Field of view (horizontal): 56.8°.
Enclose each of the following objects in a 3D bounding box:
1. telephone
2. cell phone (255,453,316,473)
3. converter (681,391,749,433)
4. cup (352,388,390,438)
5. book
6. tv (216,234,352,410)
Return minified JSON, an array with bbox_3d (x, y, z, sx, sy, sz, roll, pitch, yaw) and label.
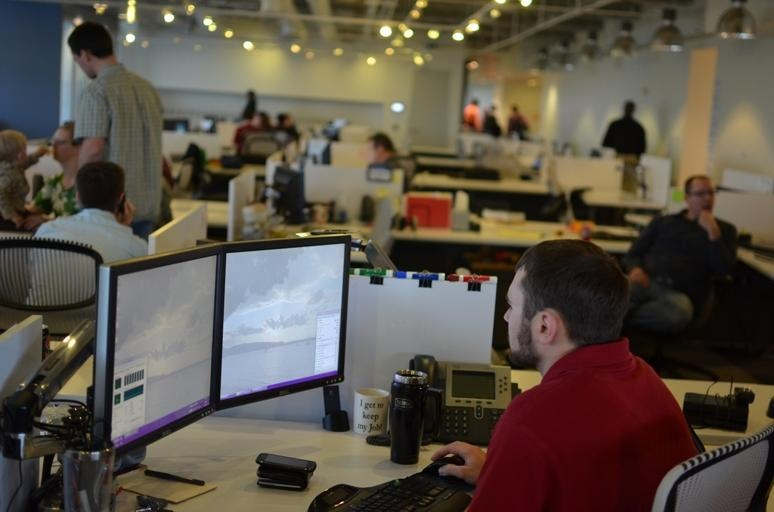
[{"bbox_3d":[0.269,0.492,2.478,0.394,0.255,0.261,1,12,-9],"label":"telephone"},{"bbox_3d":[-0.315,0.642,2.214,0.132,0.022,0.077,7,5,1],"label":"cell phone"},{"bbox_3d":[1.308,0.584,2.774,0.214,0.144,0.229,9,7,43],"label":"converter"},{"bbox_3d":[-0.051,0.542,2.497,0.114,0.120,0.155,1,-1,9],"label":"cup"},{"bbox_3d":[-0.667,0.691,2.142,0.286,0.057,0.114,4,6,10],"label":"book"},{"bbox_3d":[-0.340,0.203,2.336,0.570,0.570,0.054,-5,11,-40],"label":"tv"}]
